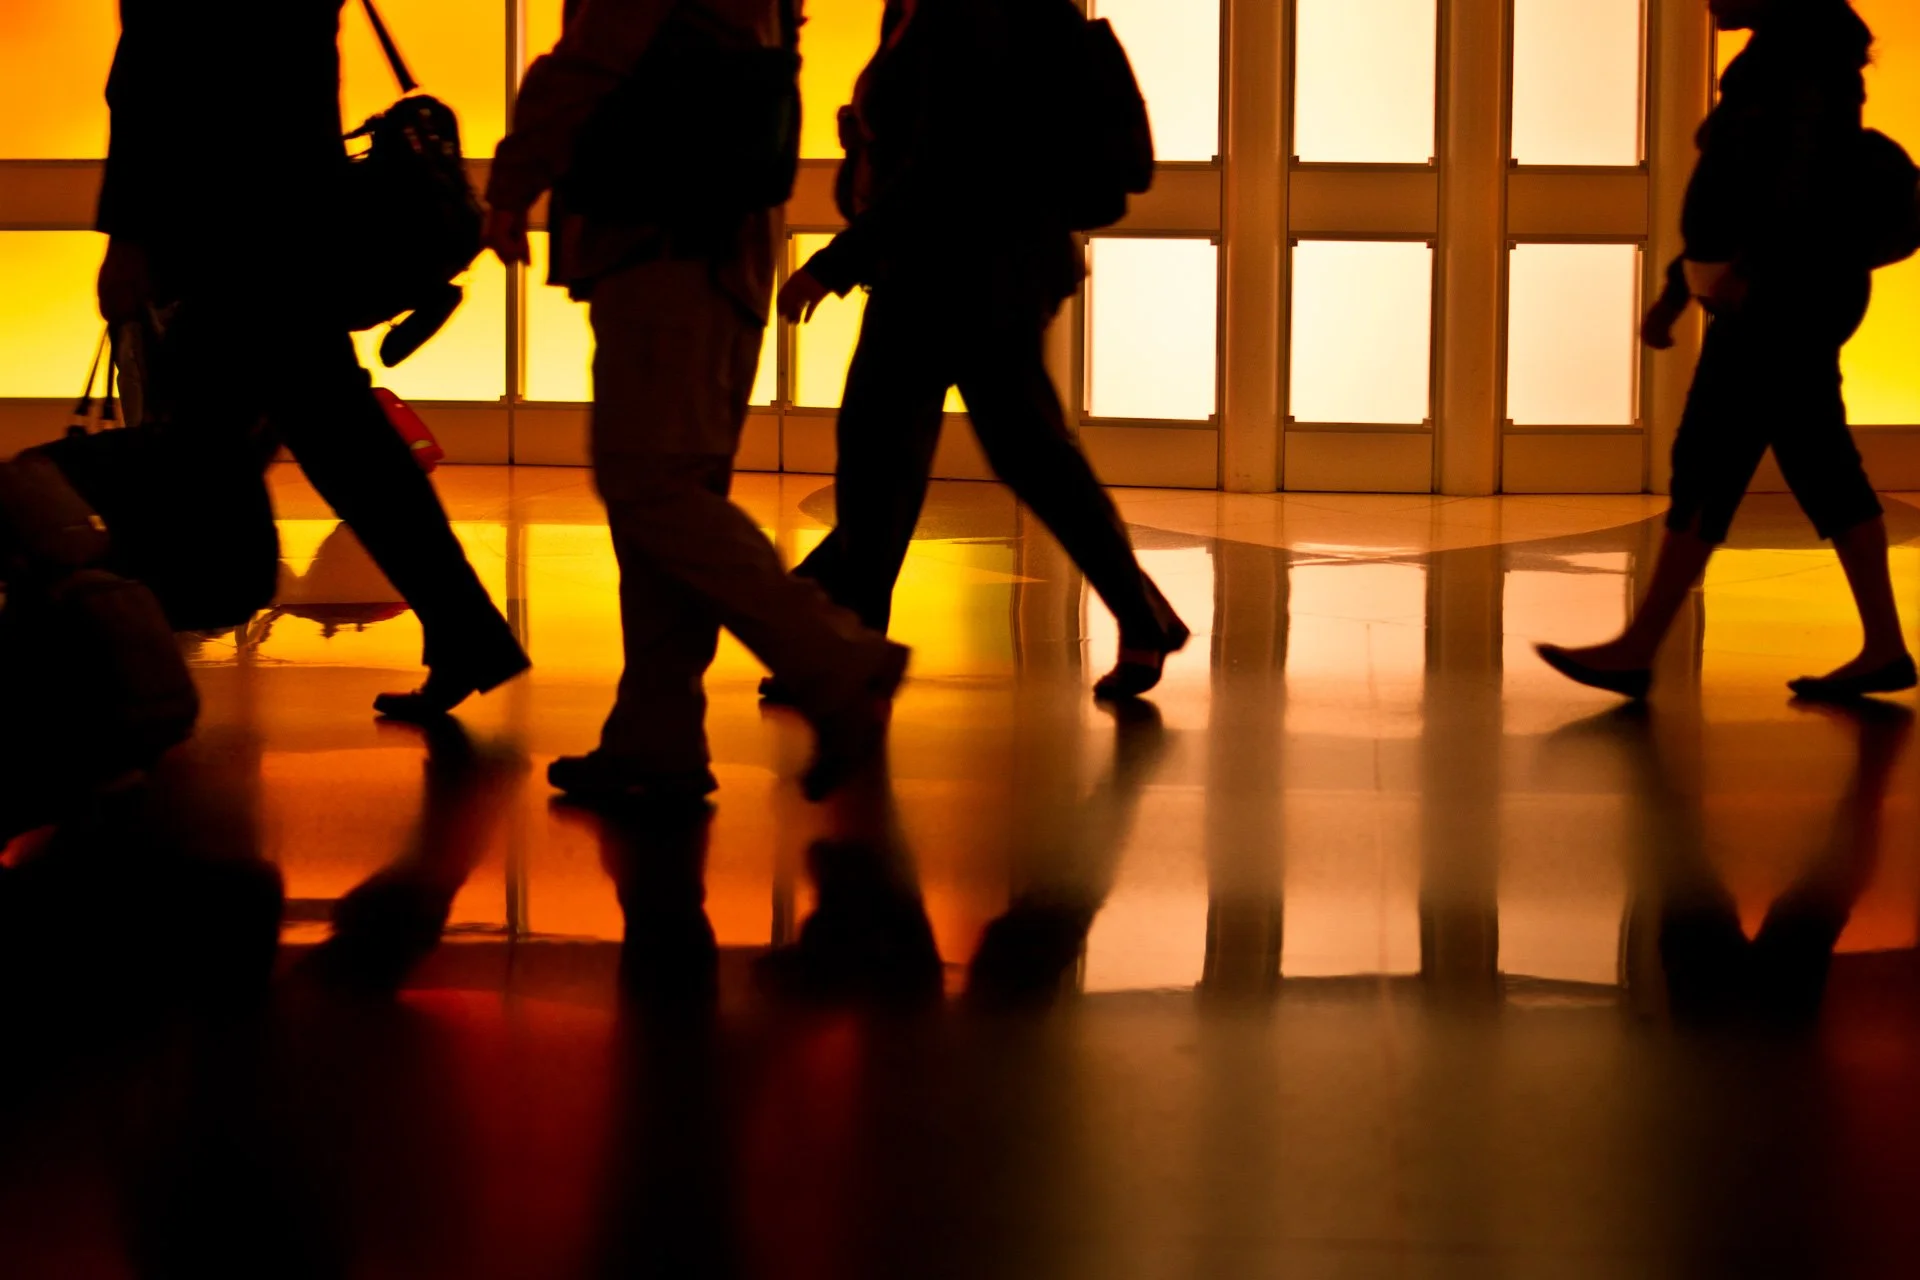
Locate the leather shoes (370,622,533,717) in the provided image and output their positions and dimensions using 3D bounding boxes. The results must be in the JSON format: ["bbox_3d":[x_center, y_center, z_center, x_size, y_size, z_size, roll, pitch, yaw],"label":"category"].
[{"bbox_3d":[-1.125,0.073,3.726,0.381,0.161,0.119,-24,1,5],"label":"leather shoes"}]

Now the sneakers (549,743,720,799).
[{"bbox_3d":[-0.638,0.262,3.293,0.331,0.135,0.116,3,0,2],"label":"sneakers"}]

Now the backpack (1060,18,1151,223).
[{"bbox_3d":[0.343,-1.201,3.923,0.325,0.420,0.104,4,6,1],"label":"backpack"}]

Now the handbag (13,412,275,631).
[{"bbox_3d":[-1.723,-0.277,3.535,0.452,0.354,0.452,7,8,25],"label":"handbag"}]
